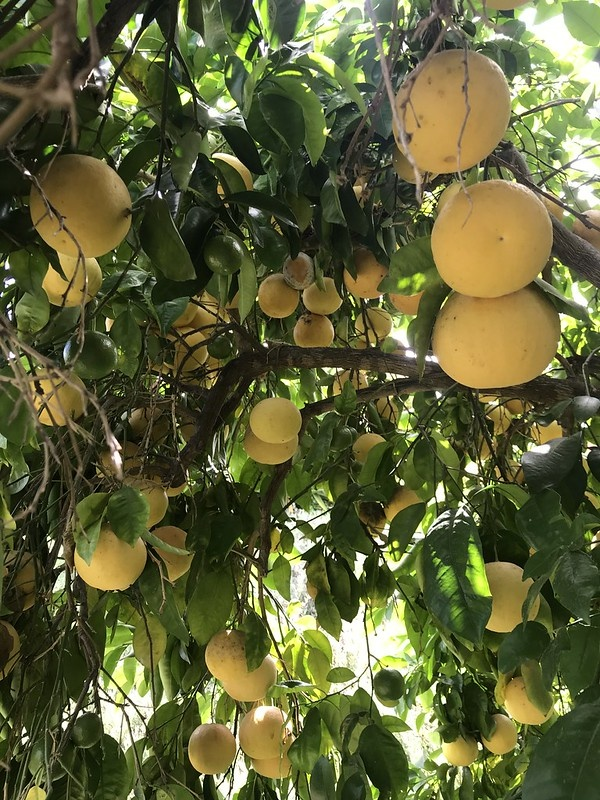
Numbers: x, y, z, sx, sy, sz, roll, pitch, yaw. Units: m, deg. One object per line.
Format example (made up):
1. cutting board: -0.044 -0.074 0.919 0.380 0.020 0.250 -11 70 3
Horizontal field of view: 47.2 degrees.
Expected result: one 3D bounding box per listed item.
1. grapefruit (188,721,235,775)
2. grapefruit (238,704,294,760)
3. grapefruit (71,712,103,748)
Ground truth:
1. grapefruit: -0.143 0.584 1.149 0.070 0.073 0.132 4 -32 8
2. grapefruit: -0.058 0.535 1.100 0.080 0.086 0.078 0 -11 -3
3. grapefruit: -0.302 0.478 0.989 0.039 0.044 0.088 7 -32 3
